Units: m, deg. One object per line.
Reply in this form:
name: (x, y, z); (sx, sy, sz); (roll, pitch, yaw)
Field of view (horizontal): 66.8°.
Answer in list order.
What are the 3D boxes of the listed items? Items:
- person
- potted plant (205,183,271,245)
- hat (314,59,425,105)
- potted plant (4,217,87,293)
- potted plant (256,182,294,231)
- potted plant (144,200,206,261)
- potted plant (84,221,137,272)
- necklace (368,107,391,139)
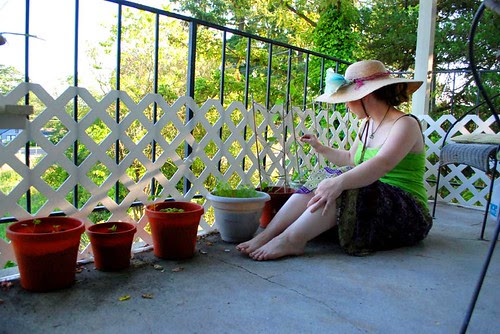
person: (0.636, -0.074, 2.711); (1.279, 1.310, 0.905); (-2, 3, -7)
potted plant: (-0.084, 0.351, 2.835); (0.483, 0.367, 0.486); (-2, 10, -18)
hat: (0.828, -0.618, 2.822); (0.730, 0.271, 0.740); (-8, 4, 39)
potted plant: (-1.170, 0.432, 2.168); (0.377, 0.317, 0.379); (11, 10, 39)
potted plant: (0.184, 0.307, 3.074); (0.316, 0.263, 0.322); (10, 10, -6)
potted plant: (-0.513, 0.415, 2.540); (0.382, 0.317, 0.398); (2, 4, 8)
potted plant: (-0.836, 0.477, 2.258); (0.274, 0.223, 0.278); (1, 8, -13)
necklace: (0.893, -0.286, 2.619); (0.036, 0.276, 0.073); (-1, 28, -37)
